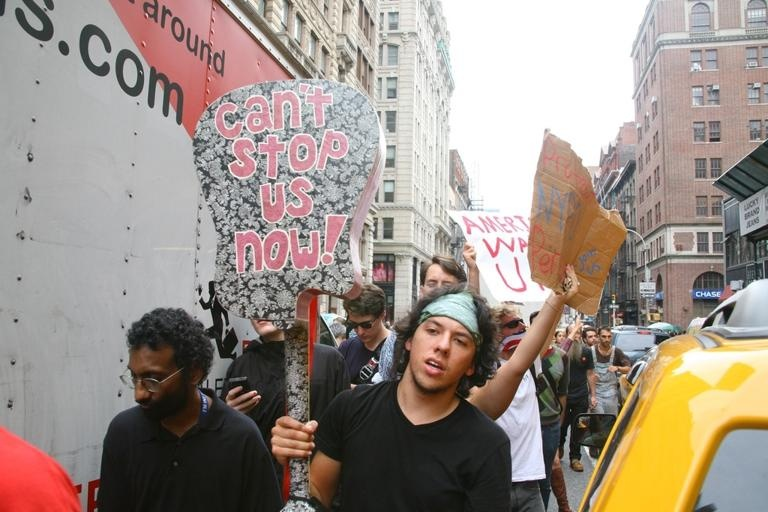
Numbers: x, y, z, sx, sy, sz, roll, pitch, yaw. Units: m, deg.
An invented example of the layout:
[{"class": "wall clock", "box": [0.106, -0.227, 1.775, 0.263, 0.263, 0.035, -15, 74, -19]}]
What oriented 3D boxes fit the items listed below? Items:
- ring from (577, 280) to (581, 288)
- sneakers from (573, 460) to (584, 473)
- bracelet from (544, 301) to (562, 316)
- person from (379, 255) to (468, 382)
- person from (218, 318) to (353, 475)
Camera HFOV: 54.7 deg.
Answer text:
[{"class": "ring", "box": [1.219, 0.178, 4.655, 0.034, 0.039, 0.008, -5, 0, -13]}, {"class": "sneakers", "box": [2.594, 2.851, 9.990, 0.088, 0.098, 0.223, -2, -18, 0]}, {"class": "bracelet", "box": [1.019, 0.312, 4.465, 0.077, 0.066, 0.083, 0, -2, -7]}, {"class": "person", "box": [0.450, 0.309, 5.580, 0.455, 0.827, 0.499, 11, -48, 1]}, {"class": "person", "box": [-0.610, 0.870, 4.503, 0.984, 1.172, 0.459, 2, -12, -12]}]
